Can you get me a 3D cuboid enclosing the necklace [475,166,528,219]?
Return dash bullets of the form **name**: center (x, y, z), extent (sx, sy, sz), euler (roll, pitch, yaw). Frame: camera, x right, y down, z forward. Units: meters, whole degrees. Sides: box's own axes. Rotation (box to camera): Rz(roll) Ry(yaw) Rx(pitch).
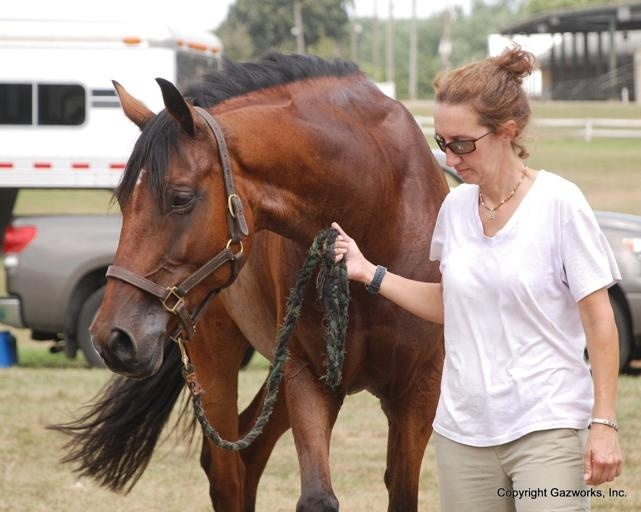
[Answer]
- **necklace**: center (0.927, -0.322, 6.185), extent (0.196, 0.285, 0.071), euler (22, 5, 31)
